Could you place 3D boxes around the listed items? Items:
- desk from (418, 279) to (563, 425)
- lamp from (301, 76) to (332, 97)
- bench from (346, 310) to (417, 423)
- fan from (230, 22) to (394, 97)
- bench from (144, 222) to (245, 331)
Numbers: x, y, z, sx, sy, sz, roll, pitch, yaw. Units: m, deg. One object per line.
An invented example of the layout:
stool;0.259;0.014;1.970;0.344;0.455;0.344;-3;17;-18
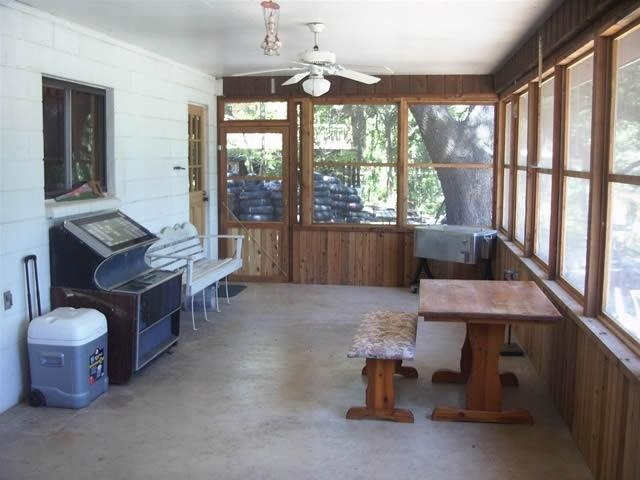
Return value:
desk;1.254;0.870;3.819;0.947;0.918;0.957;2;10;11
lamp;-0.059;-1.544;4.881;0.261;0.185;0.269;7;14;31
bench;0.498;0.718;3.878;0.587;0.618;1.254;1;4;9
fan;-0.056;-1.675;5.045;1.291;0.604;1.229;2;-1;-22
bench;-1.582;0.390;5.833;0.679;1.083;1.586;8;11;6
